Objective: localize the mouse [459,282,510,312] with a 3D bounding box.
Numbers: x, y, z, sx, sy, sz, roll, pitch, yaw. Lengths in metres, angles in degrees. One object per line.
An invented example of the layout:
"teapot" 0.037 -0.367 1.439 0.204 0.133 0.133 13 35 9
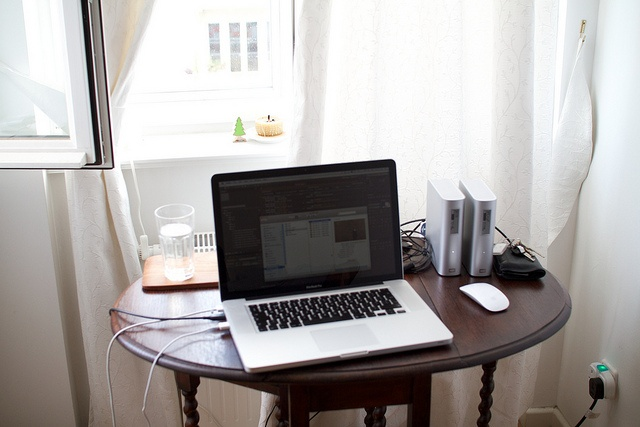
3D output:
"mouse" 0.498 0.246 1.385 0.068 0.029 0.107 -9 24 -28

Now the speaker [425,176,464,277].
"speaker" 0.401 0.050 1.507 0.096 0.310 0.290 -2 4 -2

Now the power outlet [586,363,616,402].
"power outlet" 1.085 0.646 1.818 0.075 0.103 0.138 -12 9 12

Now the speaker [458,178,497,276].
"speaker" 0.533 0.066 1.587 0.076 0.237 0.253 2 8 8
